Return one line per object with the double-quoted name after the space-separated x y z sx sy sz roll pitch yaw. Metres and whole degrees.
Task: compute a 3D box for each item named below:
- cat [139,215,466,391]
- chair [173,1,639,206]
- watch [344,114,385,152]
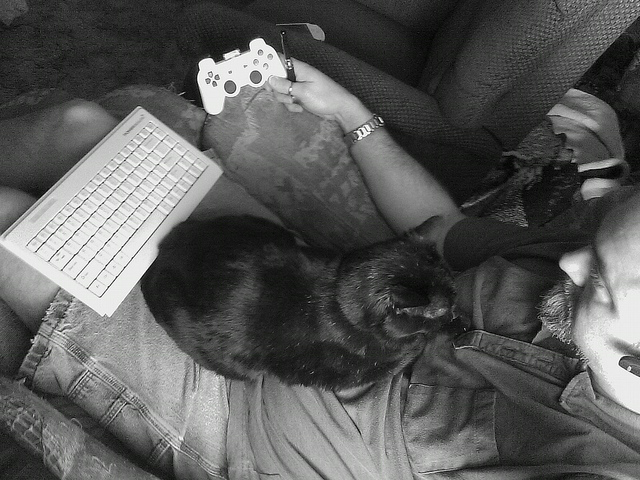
-0.025 0.100 1.113 0.612 0.253 0.322 8 56 -2 "cat"
0.189 -0.283 1.285 0.450 0.525 0.343 -5 84 -39 "chair"
0.089 -0.234 1.302 0.081 0.073 0.021 -27 77 -44 "watch"
